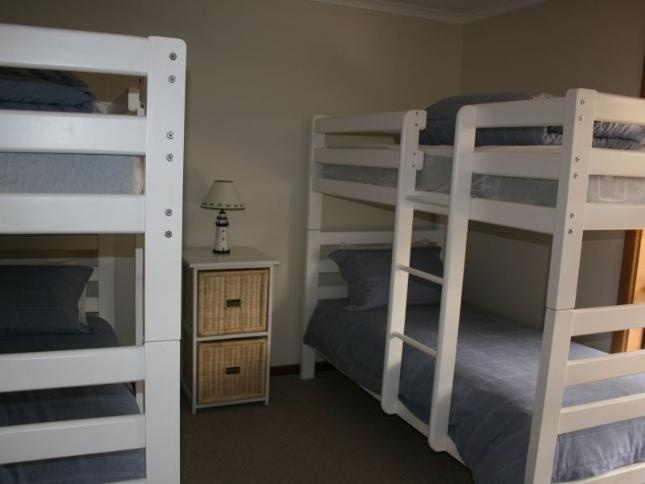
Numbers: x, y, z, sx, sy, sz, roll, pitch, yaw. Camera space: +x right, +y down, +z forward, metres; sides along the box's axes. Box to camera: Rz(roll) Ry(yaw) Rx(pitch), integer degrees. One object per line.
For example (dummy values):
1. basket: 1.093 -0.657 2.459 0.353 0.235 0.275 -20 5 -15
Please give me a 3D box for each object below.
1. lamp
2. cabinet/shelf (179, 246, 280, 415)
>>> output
1. lamp: -0.708 -0.188 3.755 0.288 0.500 0.335 -1 11 -13
2. cabinet/shelf: -0.678 0.589 3.749 0.636 1.037 0.471 -2 11 -17
